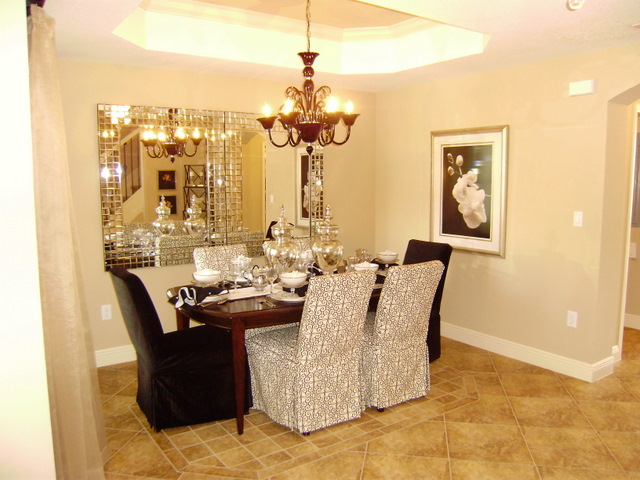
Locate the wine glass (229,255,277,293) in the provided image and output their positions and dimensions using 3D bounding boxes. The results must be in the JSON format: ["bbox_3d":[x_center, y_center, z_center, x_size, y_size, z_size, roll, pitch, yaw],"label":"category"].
[{"bbox_3d":[-0.526,0.264,3.987,0.233,0.227,0.389,-6,15,-37],"label":"wine glass"}]

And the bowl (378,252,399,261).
[{"bbox_3d":[0.676,0.159,4.820,0.114,0.054,0.118,2,4,0],"label":"bowl"}]

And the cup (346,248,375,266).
[{"bbox_3d":[0.380,0.156,4.572,0.236,0.252,0.153,3,-1,10],"label":"cup"}]

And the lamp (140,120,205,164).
[{"bbox_3d":[-1.470,-0.974,4.792,0.377,0.287,0.385,0,13,-1],"label":"lamp"}]

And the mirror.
[{"bbox_3d":[-1.161,-0.529,4.745,1.801,1.287,0.083,-1,3,-36],"label":"mirror"}]

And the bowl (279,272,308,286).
[{"bbox_3d":[-0.203,0.302,3.791,0.130,0.057,0.130,1,2,0],"label":"bowl"}]
